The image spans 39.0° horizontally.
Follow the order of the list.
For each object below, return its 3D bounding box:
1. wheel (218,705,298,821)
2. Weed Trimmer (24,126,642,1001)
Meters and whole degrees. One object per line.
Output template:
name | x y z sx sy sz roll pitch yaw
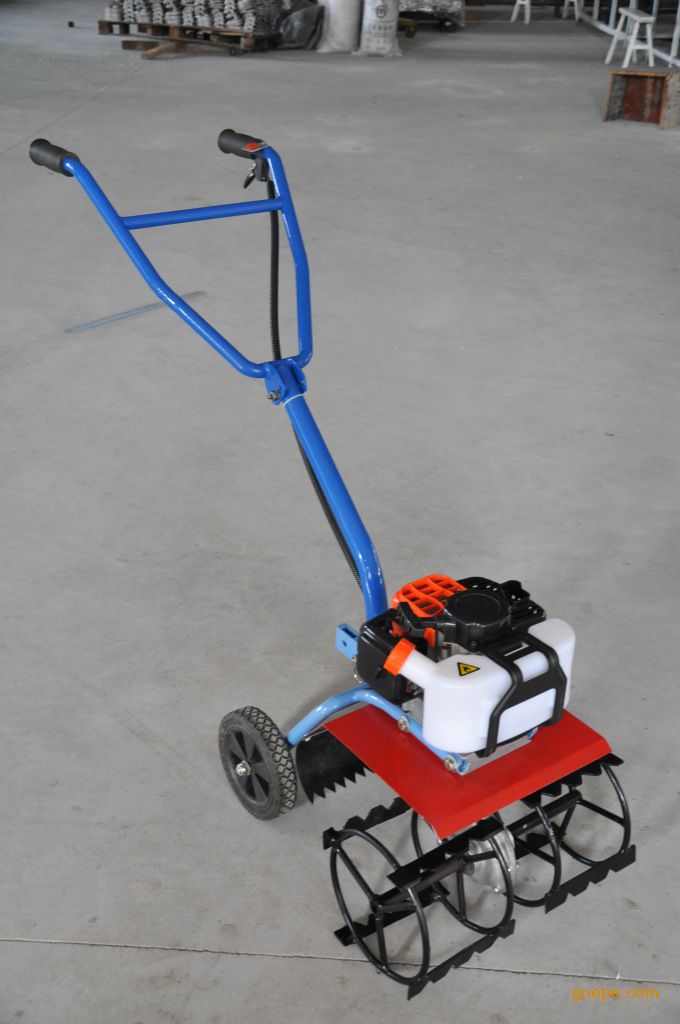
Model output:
wheel | -0.185 0.571 2.130 0.084 0.233 0.247 -25 24 -32
Weed Trimmer | -0.085 0.118 2.086 0.649 0.871 1.544 -19 40 -37
